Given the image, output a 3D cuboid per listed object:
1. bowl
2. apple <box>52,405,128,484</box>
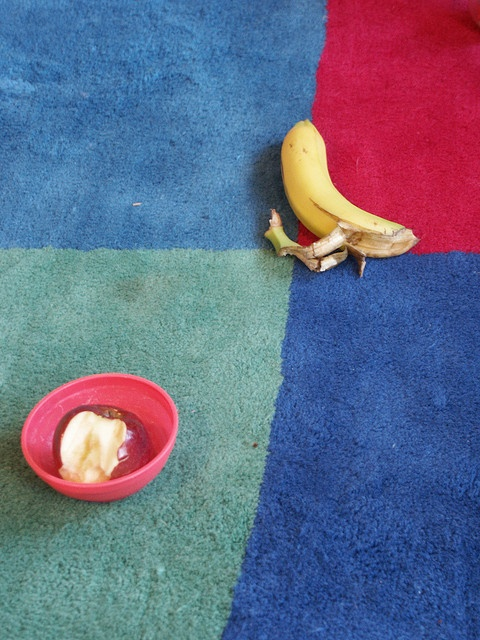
[{"bbox_3d":[-0.227,0.176,0.928,0.229,0.092,0.207,11,74,-29],"label":"bowl"},{"bbox_3d":[-0.224,0.180,0.862,0.083,0.028,0.099,5,62,1],"label":"apple"}]
